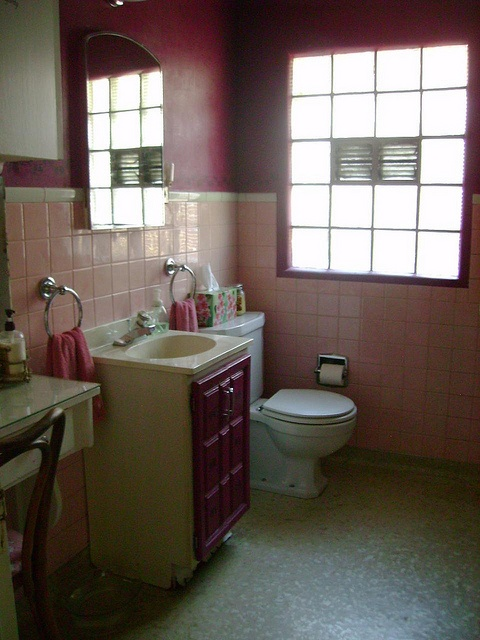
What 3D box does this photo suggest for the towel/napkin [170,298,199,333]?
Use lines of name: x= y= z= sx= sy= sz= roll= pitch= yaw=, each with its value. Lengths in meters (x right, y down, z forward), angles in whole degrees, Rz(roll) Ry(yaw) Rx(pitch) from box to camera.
towel/napkin: x=-0.247 y=-0.009 z=2.255 sx=0.116 sy=0.136 sz=0.279 roll=-1 pitch=7 yaw=-4

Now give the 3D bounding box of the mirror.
mirror: x=-0.416 y=-0.693 z=1.982 sx=0.037 sy=0.712 sz=0.562 roll=2 pitch=7 yaw=19

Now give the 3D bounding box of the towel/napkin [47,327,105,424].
towel/napkin: x=-0.536 y=0.117 z=1.635 sx=0.154 sy=0.170 sz=0.126 roll=-6 pitch=9 yaw=-42

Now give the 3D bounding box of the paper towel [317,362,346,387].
paper towel: x=0.491 y=0.287 z=2.788 sx=0.143 sy=0.128 sz=0.113 roll=-1 pitch=14 yaw=26

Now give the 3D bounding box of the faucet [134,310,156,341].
faucet: x=-0.353 y=0.025 z=2.007 sx=0.061 sy=0.101 sz=0.099 roll=4 pitch=22 yaw=-6

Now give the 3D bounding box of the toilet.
toilet: x=0.271 y=0.607 z=2.512 sx=0.516 sy=0.413 sz=0.426 roll=1 pitch=4 yaw=17

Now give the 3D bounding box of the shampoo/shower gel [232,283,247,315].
shampoo/shower gel: x=-0.005 y=-0.106 z=2.820 sx=0.033 sy=0.168 sz=0.134 roll=1 pitch=7 yaw=13
